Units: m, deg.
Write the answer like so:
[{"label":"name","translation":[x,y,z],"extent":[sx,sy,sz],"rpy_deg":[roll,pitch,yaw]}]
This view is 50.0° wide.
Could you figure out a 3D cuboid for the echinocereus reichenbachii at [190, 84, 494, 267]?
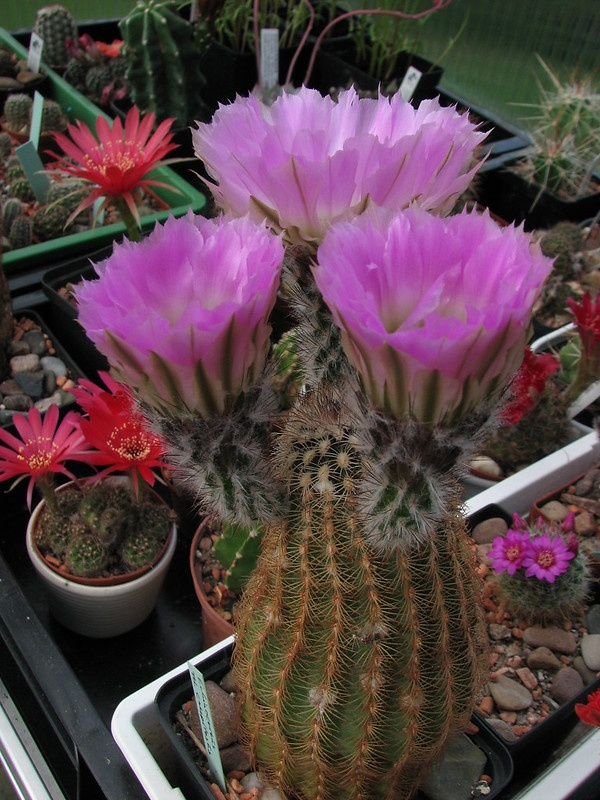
[{"label":"echinocereus reichenbachii","translation":[0.019,-0.145,0.399],"extent":[0.161,0.089,0.176],"rpy_deg":[26,32,38]}]

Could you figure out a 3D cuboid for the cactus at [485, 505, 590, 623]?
[{"label":"cactus","translation":[0.287,0.227,0.898],"extent":[0.167,0.156,0.151],"rpy_deg":[-5,41,10]}]

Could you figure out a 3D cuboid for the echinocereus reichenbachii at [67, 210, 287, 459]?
[{"label":"echinocereus reichenbachii","translation":[-0.061,-0.039,0.325],"extent":[0.095,0.107,0.088],"rpy_deg":[-21,51,-31]}]

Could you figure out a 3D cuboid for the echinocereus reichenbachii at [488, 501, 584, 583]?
[{"label":"echinocereus reichenbachii","translation":[0.299,0.184,0.828],"extent":[0.099,0.044,0.101],"rpy_deg":[29,60,34]}]

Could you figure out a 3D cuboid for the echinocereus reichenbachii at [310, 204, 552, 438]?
[{"label":"echinocereus reichenbachii","translation":[0.060,-0.045,0.314],"extent":[0.106,0.083,0.103],"rpy_deg":[9,22,27]}]
